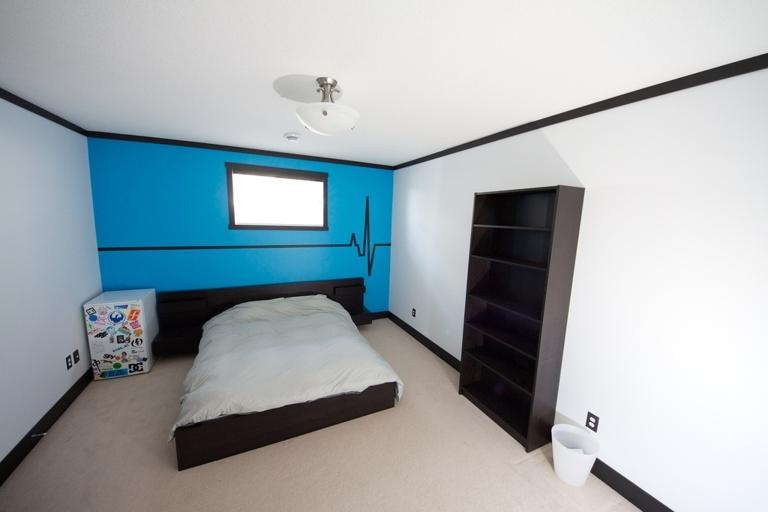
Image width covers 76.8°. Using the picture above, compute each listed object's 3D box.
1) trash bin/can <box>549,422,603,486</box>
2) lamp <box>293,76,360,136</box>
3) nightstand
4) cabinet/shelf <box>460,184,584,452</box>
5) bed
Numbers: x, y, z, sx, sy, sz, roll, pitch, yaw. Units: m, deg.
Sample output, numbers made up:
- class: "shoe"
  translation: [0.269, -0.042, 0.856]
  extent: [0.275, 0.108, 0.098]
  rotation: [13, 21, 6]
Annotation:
- class: "trash bin/can"
  translation: [1.708, 1.793, 4.383]
  extent: [0.404, 0.439, 0.340]
  rotation: [4, 10, 32]
- class: "lamp"
  translation: [-0.450, -1.266, 4.063]
  extent: [0.502, 0.394, 0.496]
  rotation: [-14, 27, -29]
- class: "nightstand"
  translation: [-2.823, 0.860, 5.420]
  extent: [0.805, 1.171, 0.813]
  rotation: [-6, 16, -34]
- class: "cabinet/shelf"
  translation: [1.303, 0.554, 4.816]
  extent: [0.583, 2.454, 1.042]
  rotation: [-8, 11, -34]
- class: "bed"
  translation: [-1.143, 1.234, 5.142]
  extent: [2.144, 1.014, 1.674]
  rotation: [-6, 9, -28]
